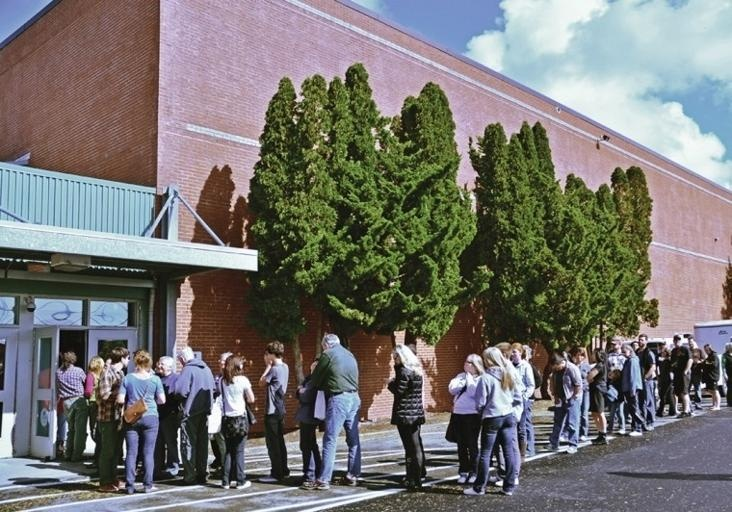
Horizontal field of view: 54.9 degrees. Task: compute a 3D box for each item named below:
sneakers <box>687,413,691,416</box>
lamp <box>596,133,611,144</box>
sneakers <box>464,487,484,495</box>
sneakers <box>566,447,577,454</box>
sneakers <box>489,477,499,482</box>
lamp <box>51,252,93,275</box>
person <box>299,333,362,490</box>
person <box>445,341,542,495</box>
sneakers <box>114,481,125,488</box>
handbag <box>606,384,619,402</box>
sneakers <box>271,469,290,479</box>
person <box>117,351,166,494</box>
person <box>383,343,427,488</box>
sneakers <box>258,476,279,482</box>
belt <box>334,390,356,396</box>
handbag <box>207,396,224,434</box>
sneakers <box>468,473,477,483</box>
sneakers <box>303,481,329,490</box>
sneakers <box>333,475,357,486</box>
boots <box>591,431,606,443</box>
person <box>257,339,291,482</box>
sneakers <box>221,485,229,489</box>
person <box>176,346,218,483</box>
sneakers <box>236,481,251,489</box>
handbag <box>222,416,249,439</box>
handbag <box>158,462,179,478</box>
[{"bbox_3d":[10.034,4.946,21.898,0.157,0.117,0.083,5,-9,-41],"label":"sneakers"},{"bbox_3d":[13.151,-6.434,38.728,0.377,0.632,1.507,3,1,40],"label":"lamp"},{"bbox_3d":[1.997,4.381,13.086,0.356,0.169,0.147,1,-9,18],"label":"sneakers"},{"bbox_3d":[4.736,4.488,16.293,0.244,0.157,0.264,-4,-14,14],"label":"sneakers"},{"bbox_3d":[2.498,4.400,13.821,0.140,0.051,0.147,-3,-1,-3],"label":"sneakers"},{"bbox_3d":[-7.467,0.230,17.824,0.919,0.286,1.948,5,-15,-23],"label":"lamp"},{"bbox_3d":[-0.606,2.996,13.798,0.941,2.981,0.767,1,-12,-5],"label":"person"},{"bbox_3d":[2.481,3.116,13.385,1.072,2.711,0.944,0,-12,-1],"label":"person"},{"bbox_3d":[-4.846,4.519,13.848,0.178,0.171,0.160,0,-12,-41],"label":"sneakers"},{"bbox_3d":[6.357,3.545,18.246,0.112,0.467,0.441,-6,15,-11],"label":"handbag"},{"bbox_3d":[-1.710,4.448,14.349,0.475,0.226,0.158,9,-13,-26],"label":"sneakers"},{"bbox_3d":[-4.410,3.255,13.842,0.848,2.693,1.044,1,-12,-9],"label":"person"},{"bbox_3d":[0.807,3.083,13.509,0.557,2.670,0.683,-9,-14,34],"label":"person"},{"bbox_3d":[-1.987,4.533,14.241,0.386,0.169,0.146,5,-19,3],"label":"sneakers"},{"bbox_3d":[-0.386,2.657,13.625,0.485,0.097,0.132,9,-16,-35],"label":"belt"},{"bbox_3d":[-3.178,3.381,14.874,0.162,0.683,0.703,-5,-10,29],"label":"handbag"},{"bbox_3d":[2.079,4.353,13.772,0.095,0.131,0.303,-3,-18,26],"label":"sneakers"},{"bbox_3d":[-0.952,4.424,13.548,0.492,0.229,0.192,6,-20,5],"label":"sneakers"},{"bbox_3d":[-0.414,4.482,13.984,0.491,0.227,0.191,1,-8,30],"label":"sneakers"},{"bbox_3d":[5.776,4.523,17.481,0.338,0.257,0.405,-5,-14,18],"label":"boots"},{"bbox_3d":[-1.868,3.153,14.327,0.555,2.752,0.795,1,-12,-7],"label":"person"},{"bbox_3d":[-2.768,4.524,13.783,0.140,0.085,0.067,5,-14,9],"label":"sneakers"},{"bbox_3d":[-3.484,3.232,14.236,0.694,2.660,0.631,1,-12,-8],"label":"person"},{"bbox_3d":[-2.379,4.467,13.746,0.105,0.134,0.300,3,2,34],"label":"sneakers"},{"bbox_3d":[-2.569,3.321,13.774,0.401,0.332,0.426,-5,-7,28],"label":"handbag"},{"bbox_3d":[-4.070,4.521,14.838,0.313,0.127,0.326,-1,-4,29],"label":"handbag"}]
